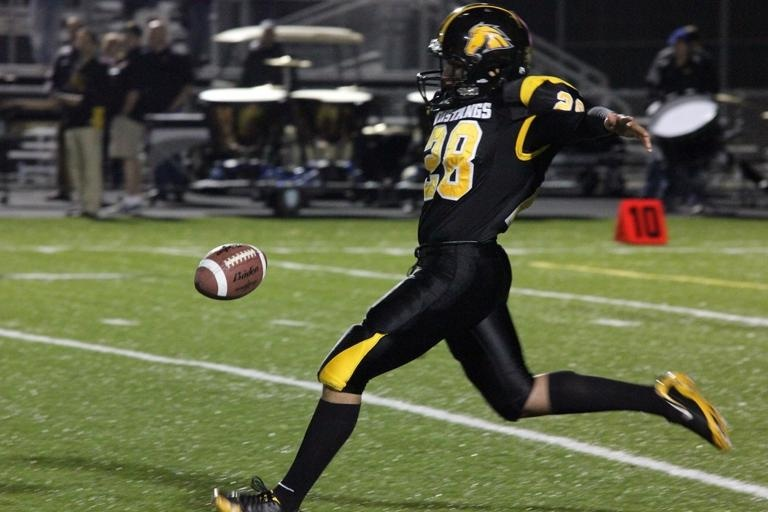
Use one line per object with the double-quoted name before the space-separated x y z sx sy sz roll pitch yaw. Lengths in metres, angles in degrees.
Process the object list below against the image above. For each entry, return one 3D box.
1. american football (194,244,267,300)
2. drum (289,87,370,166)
"american football" -0.915 0.072 5.786 0.438 0.231 0.495 7 20 11
"drum" -0.743 -1.772 14.378 1.719 0.959 1.247 0 0 -1
